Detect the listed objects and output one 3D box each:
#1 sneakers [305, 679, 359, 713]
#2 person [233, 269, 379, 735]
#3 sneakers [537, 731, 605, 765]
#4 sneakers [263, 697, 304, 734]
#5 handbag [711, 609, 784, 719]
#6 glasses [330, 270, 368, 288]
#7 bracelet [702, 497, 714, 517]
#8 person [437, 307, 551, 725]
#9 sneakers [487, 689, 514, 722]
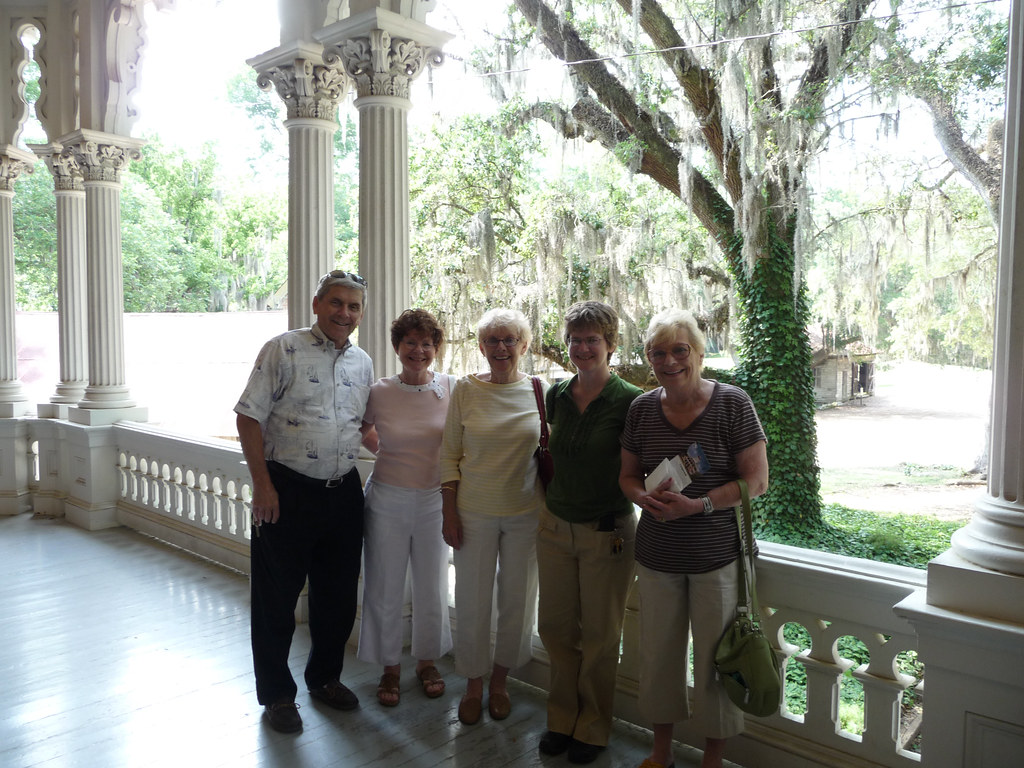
[{"bbox_3d":[-1.004,1.703,4.389,0.281,0.117,0.130,5,9,33],"label":"sneakers"},{"bbox_3d":[-1.068,0.744,4.249,0.730,2.119,0.360,-6,9,-23],"label":"person"},{"bbox_3d":[0.280,1.829,3.974,0.246,0.111,0.146,-3,2,43],"label":"sneakers"},{"bbox_3d":[-1.222,1.772,4.233,0.101,0.101,0.261,0,-3,-34],"label":"sneakers"},{"bbox_3d":[1.044,1.233,3.493,0.185,0.397,0.227,-9,11,-35],"label":"handbag"},{"bbox_3d":[-0.887,-0.570,4.310,0.185,0.106,0.292,1,10,19],"label":"glasses"},{"bbox_3d":[0.873,0.551,3.520,0.032,0.049,0.066,2,50,10],"label":"bracelet"},{"bbox_3d":[-0.099,0.703,4.202,0.536,2.179,0.305,-3,9,-7],"label":"person"},{"bbox_3d":[-0.069,1.748,4.286,0.124,0.098,0.245,0,-2,-3],"label":"sneakers"}]
